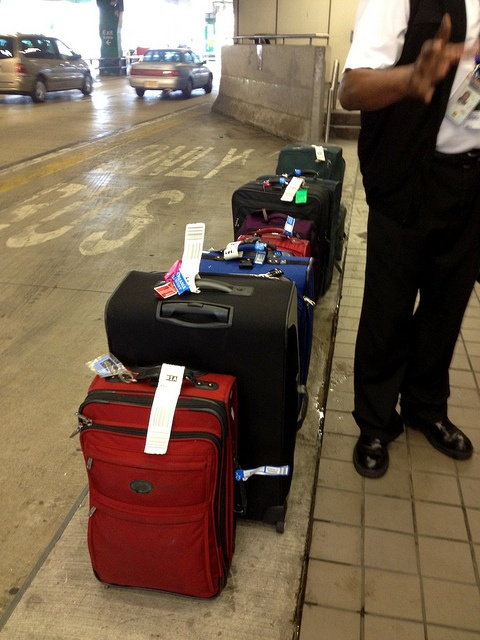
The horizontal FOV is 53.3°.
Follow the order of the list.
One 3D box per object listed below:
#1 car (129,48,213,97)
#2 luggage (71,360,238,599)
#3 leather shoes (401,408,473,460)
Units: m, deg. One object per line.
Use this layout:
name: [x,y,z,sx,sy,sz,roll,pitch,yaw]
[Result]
car: [-2.189,-8.705,16.808,1.473,1.536,3.323,17,33,30]
luggage: [-0.239,0.503,1.452,0.433,0.754,0.311,3,26,6]
leather shoes: [0.929,0.524,2.290,0.125,0.144,0.330,-42,51,-16]
